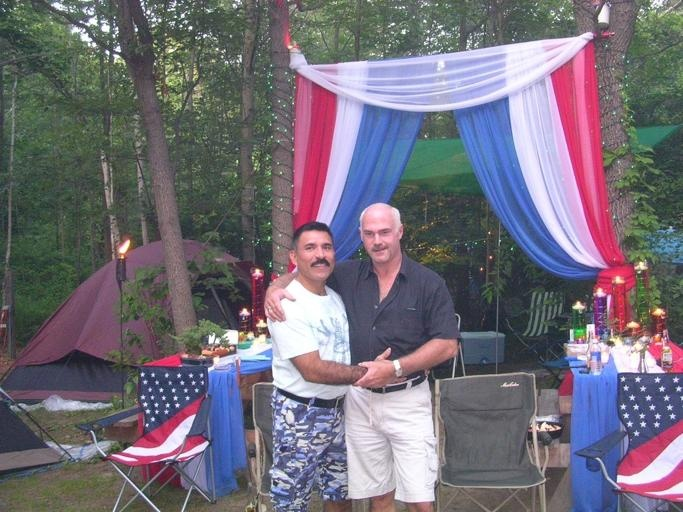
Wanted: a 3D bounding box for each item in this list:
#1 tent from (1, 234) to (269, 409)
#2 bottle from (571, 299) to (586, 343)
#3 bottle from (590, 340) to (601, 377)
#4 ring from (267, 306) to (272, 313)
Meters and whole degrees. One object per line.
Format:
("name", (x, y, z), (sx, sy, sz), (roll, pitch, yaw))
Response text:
("tent", (-3.716, 1.353, 14.136), (2.941, 1.377, 2.933), (-27, 7, -37))
("bottle", (3.059, 0.837, 11.626), (0.167, 0.514, 0.315), (0, 1, 14))
("bottle", (2.974, 1.177, 10.557), (0.133, 0.362, 0.230), (0, 1, 18))
("ring", (-0.727, 0.539, 9.083), (0.046, 0.025, 0.053), (-3, 24, 1))
